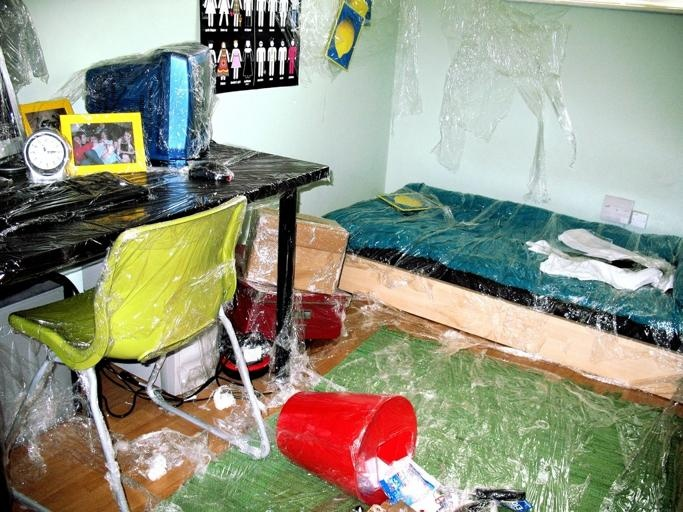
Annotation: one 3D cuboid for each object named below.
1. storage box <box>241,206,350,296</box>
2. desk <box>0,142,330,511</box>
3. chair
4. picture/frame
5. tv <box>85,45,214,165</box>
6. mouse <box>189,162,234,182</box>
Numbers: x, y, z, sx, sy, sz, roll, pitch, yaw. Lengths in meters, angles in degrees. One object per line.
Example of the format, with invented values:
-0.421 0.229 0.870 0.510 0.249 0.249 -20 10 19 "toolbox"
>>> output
-0.230 -0.004 2.366 0.438 0.305 0.429 -2 10 -42 "storage box"
-0.755 0.307 2.205 1.303 1.055 1.006 24 33 34 "desk"
-0.651 0.309 1.678 0.548 1.042 0.604 20 31 36 "chair"
-0.897 -0.409 1.787 0.384 0.240 0.351 -12 28 -26 "picture/frame"
-0.742 -0.595 2.138 0.434 0.444 0.471 5 18 2 "tv"
-0.480 -0.327 1.851 0.118 0.047 0.089 13 15 28 "mouse"
